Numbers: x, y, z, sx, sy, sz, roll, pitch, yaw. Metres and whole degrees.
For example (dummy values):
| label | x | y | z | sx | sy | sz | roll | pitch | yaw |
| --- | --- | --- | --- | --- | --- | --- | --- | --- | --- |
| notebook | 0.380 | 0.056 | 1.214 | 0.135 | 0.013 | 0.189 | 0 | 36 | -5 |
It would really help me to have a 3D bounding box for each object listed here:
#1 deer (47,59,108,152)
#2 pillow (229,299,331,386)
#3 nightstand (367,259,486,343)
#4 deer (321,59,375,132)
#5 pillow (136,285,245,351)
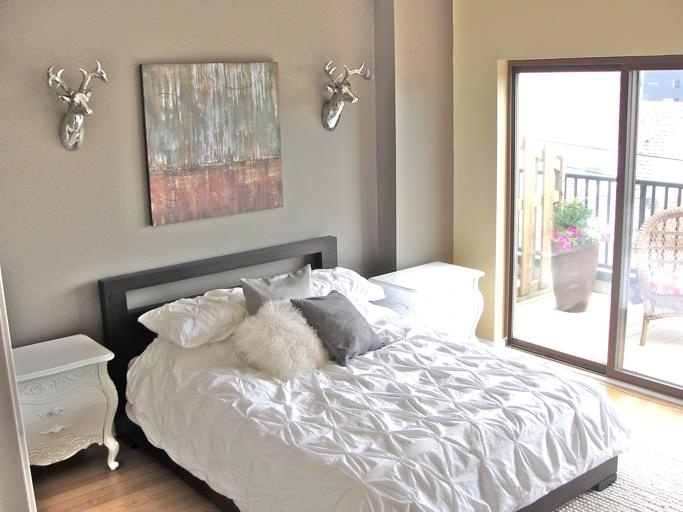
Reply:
| label | x | y | z | sx | sy | sz | roll | pitch | yaw |
| --- | --- | --- | --- | --- | --- | --- | --- | --- | --- |
| deer | -1.633 | -0.890 | 3.505 | 0.233 | 0.511 | 0.388 | 32 | 34 | 19 |
| pillow | -0.374 | 0.513 | 3.507 | 0.504 | 0.345 | 0.385 | 9 | 17 | 41 |
| nightstand | 0.709 | 0.296 | 4.749 | 0.913 | 0.894 | 0.554 | -16 | 21 | -42 |
| deer | 0.036 | -1.313 | 4.579 | 0.313 | 0.647 | 0.497 | 14 | 18 | 42 |
| pillow | -0.940 | 0.416 | 3.639 | 0.682 | 0.265 | 0.359 | -7 | 14 | -22 |
